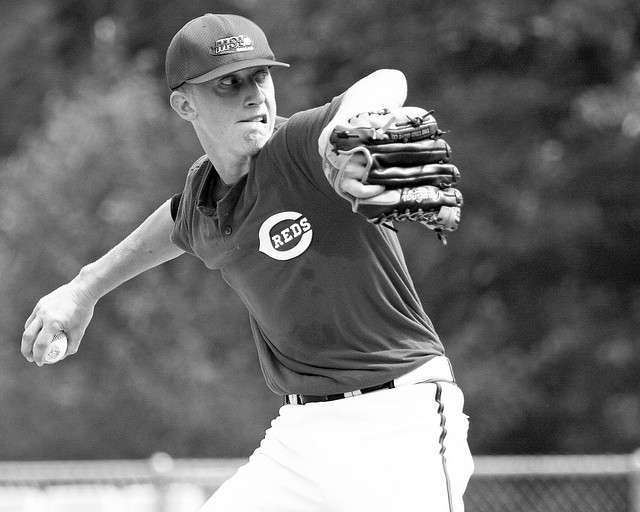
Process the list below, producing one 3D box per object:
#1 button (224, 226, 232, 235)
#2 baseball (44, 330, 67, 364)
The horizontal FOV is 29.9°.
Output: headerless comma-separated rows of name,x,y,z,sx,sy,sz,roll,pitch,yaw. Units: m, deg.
button,-0.537,-0.141,6.985,0.055,0.044,0.026,17,43,34
baseball,-1.652,0.582,7.477,0.182,0.177,0.085,-22,36,-17
